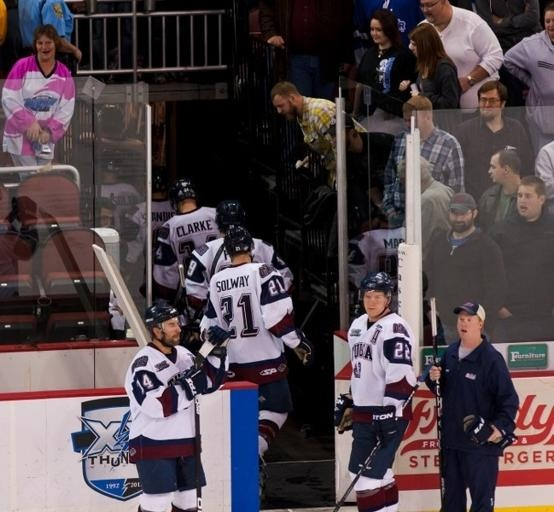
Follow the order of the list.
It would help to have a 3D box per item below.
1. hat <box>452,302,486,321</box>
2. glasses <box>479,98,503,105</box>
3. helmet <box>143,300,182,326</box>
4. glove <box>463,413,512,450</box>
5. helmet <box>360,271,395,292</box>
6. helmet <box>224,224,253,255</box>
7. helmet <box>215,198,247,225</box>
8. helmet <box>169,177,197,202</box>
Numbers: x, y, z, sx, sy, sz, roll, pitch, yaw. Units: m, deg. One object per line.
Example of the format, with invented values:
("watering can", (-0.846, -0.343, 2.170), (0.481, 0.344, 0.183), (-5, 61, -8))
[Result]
("hat", (1.365, 0.412, 9.251), (0.186, 0.100, 0.132), (17, -3, -19))
("glasses", (1.610, -1.171, 9.773), (0.204, 0.061, 0.146), (-3, 8, -13))
("helmet", (-0.799, 0.387, 8.826), (0.181, 0.148, 0.147), (1, -3, -2))
("glove", (1.480, 1.231, 9.113), (0.350, 0.257, 0.150), (0, 7, 8))
("helmet", (0.720, 0.192, 9.379), (0.136, 0.165, 0.184), (-7, -33, 30))
("helmet", (-0.313, -0.138, 10.113), (0.174, 0.231, 0.211), (-4, 8, 3))
("helmet", (-0.395, -0.359, 10.637), (0.170, 0.223, 0.221), (1, 24, -5))
("helmet", (-0.831, -0.605, 11.374), (0.166, 0.212, 0.228), (-6, 21, -15))
